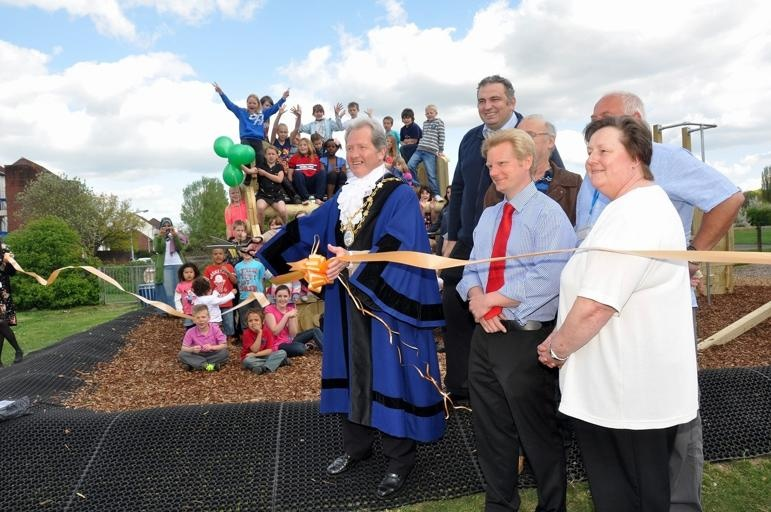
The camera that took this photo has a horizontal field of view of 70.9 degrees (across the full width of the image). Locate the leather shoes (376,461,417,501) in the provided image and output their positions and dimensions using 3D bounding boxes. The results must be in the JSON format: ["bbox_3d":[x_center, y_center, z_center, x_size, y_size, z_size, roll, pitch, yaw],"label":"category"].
[{"bbox_3d":[0.086,1.823,4.385,0.157,0.155,0.381,-1,14,34],"label":"leather shoes"}]

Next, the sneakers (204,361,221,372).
[{"bbox_3d":[-2.300,1.478,7.208,0.226,0.097,0.082,6,29,-50],"label":"sneakers"}]

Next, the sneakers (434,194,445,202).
[{"bbox_3d":[1.281,-1.376,12.892,0.130,0.159,0.379,-9,-1,6],"label":"sneakers"}]
